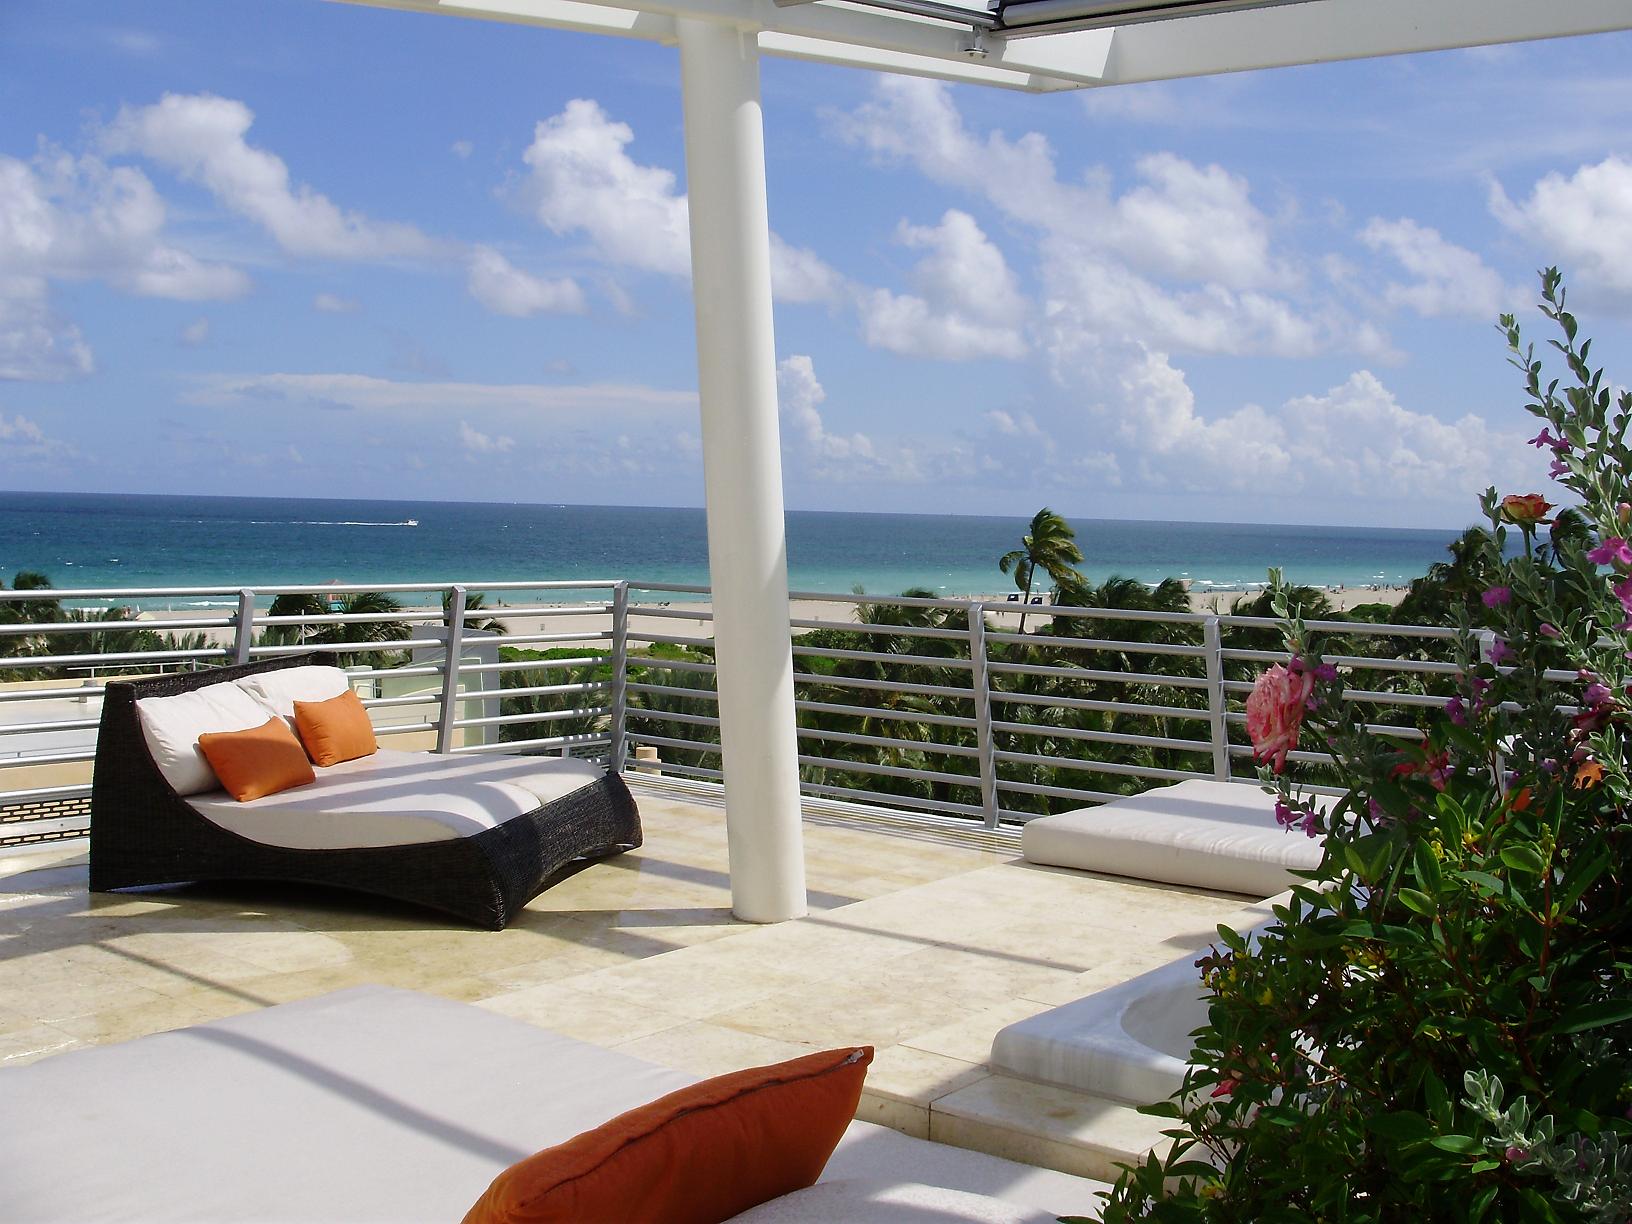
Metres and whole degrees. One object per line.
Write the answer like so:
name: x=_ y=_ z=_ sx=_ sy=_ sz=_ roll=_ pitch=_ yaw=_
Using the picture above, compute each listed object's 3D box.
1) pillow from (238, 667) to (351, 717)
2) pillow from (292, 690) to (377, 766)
pillow: x=-2.999 y=0.414 z=6.315 sx=0.339 sy=0.096 sz=0.316 roll=15 pitch=18 yaw=21
pillow: x=-2.764 y=0.656 z=6.265 sx=0.181 sy=0.276 sz=0.416 roll=-2 pitch=3 yaw=28
